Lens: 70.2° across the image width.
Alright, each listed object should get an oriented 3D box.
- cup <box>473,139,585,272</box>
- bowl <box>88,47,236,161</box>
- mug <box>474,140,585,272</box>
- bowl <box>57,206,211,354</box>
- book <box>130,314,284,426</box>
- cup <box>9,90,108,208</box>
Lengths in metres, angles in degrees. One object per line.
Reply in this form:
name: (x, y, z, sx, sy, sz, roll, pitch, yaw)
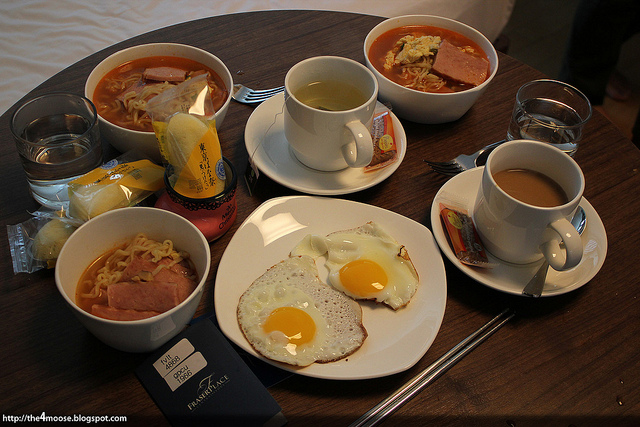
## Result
cup: (0.720, -0.011, 1.562, 0.310, 0.273, 0.432, -12, 49, -11)
bowl: (-0.603, -0.434, 1.873, 0.527, 0.229, 0.521, 2, 52, -2)
mug: (0.709, -0.035, 1.632, 0.323, 0.318, 0.505, -4, 46, 4)
bowl: (-0.560, 0.182, 1.422, 0.413, 0.188, 0.421, 1, 58, -2)
book: (-0.325, 0.519, 1.315, 0.266, 0.064, 0.389, -35, 66, -22)
cup: (-0.885, -0.258, 1.741, 0.335, 0.373, 0.435, 4, 48, -10)
